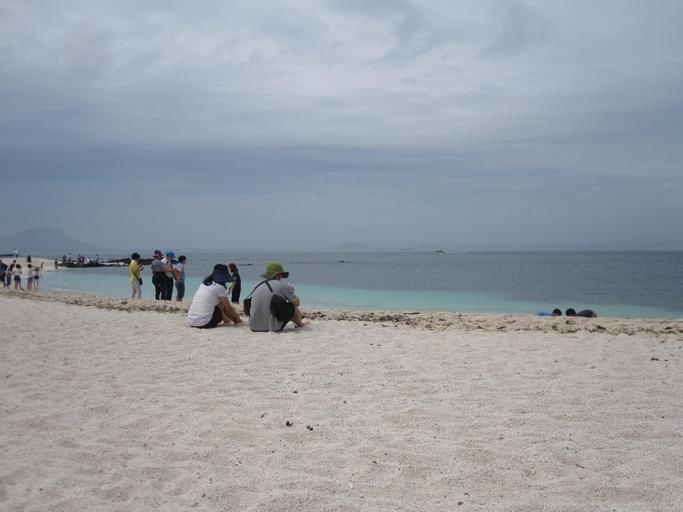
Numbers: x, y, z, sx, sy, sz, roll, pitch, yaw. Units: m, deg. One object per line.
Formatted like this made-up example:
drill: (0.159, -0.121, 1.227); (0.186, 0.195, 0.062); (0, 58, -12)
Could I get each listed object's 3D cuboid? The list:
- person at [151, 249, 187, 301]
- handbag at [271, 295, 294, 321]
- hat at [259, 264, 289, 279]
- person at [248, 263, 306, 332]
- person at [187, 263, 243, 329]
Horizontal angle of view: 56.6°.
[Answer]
person: (-5.166, 0.602, 18.880); (0.956, 1.461, 2.052); (0, -1, -17)
handbag: (-1.205, 1.014, 12.687); (0.494, 0.592, 0.340); (2, 17, 28)
hat: (-1.444, 0.305, 12.892); (0.395, 0.193, 0.428); (0, 1, -42)
person: (-1.398, 0.863, 13.193); (1.146, 1.308, 1.240); (4, 5, 36)
person: (-2.674, 0.841, 13.566); (1.001, 1.303, 1.152); (0, -1, 4)
